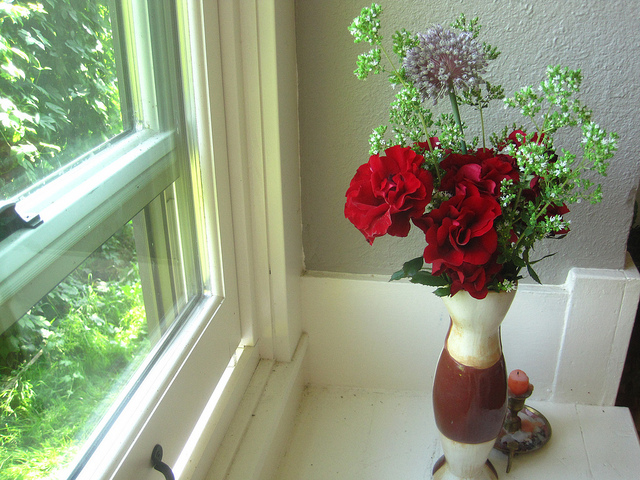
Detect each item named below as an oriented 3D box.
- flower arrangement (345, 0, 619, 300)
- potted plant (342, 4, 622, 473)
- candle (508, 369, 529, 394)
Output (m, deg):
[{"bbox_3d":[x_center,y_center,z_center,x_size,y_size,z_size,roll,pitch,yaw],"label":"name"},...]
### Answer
[{"bbox_3d":[0.310,-0.191,0.925,0.309,0.409,0.324,-31,49,-19],"label":"flower arrangement"},{"bbox_3d":[0.326,-0.001,1.003,0.442,0.921,0.522,-1,26,20],"label":"potted plant"},{"bbox_3d":[0.410,0.292,1.051,0.040,0.057,0.043,5,19,25],"label":"candle"}]
